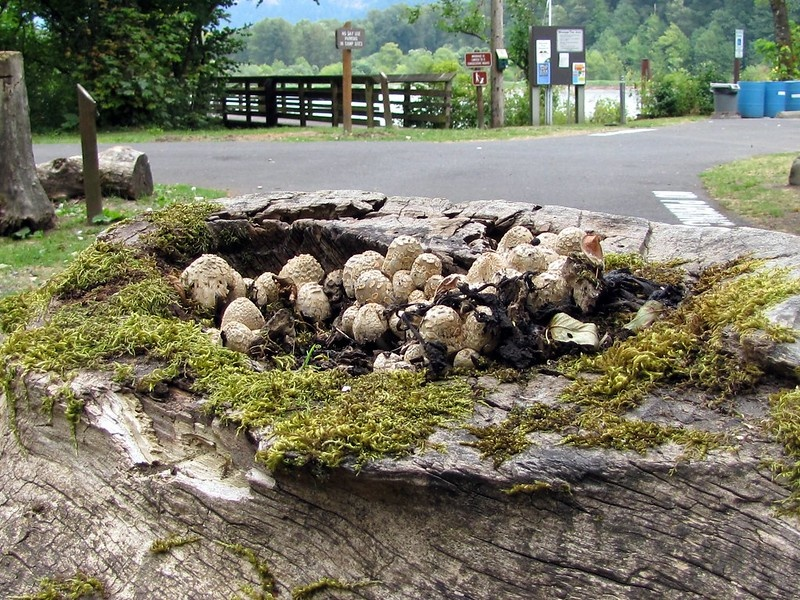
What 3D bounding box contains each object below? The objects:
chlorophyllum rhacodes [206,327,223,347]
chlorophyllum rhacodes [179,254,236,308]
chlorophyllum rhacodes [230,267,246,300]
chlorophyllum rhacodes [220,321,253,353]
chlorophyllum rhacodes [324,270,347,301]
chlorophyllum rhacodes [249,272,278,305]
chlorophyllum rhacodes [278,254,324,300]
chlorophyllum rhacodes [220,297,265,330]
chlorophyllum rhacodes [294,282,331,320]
[{"bbox_3d":[-1.165,0.225,4.556,0.089,0.058,0.164,4,15,-8],"label":"chlorophyllum rhacodes"},{"bbox_3d":[-1.353,-0.136,5.191,0.385,0.318,0.370,-11,43,-12],"label":"chlorophyllum rhacodes"},{"bbox_3d":[-1.173,-0.116,5.329,0.111,0.188,0.149,-16,17,-24],"label":"chlorophyllum rhacodes"},{"bbox_3d":[-1.009,0.233,4.491,0.164,0.163,0.200,-1,-4,-5],"label":"chlorophyllum rhacodes"},{"bbox_3d":[-0.465,-0.119,5.259,0.165,0.219,0.080,-6,-36,31],"label":"chlorophyllum rhacodes"},{"bbox_3d":[-0.992,-0.082,5.242,0.168,0.215,0.215,-7,14,-22],"label":"chlorophyllum rhacodes"},{"bbox_3d":[-0.732,-0.178,5.317,0.310,0.318,0.324,-3,9,-8],"label":"chlorophyllum rhacodes"},{"bbox_3d":[-1.040,0.093,4.843,0.236,0.229,0.233,-19,16,-30],"label":"chlorophyllum rhacodes"},{"bbox_3d":[-0.614,0.018,5.080,0.251,0.241,0.189,2,13,15],"label":"chlorophyllum rhacodes"}]
